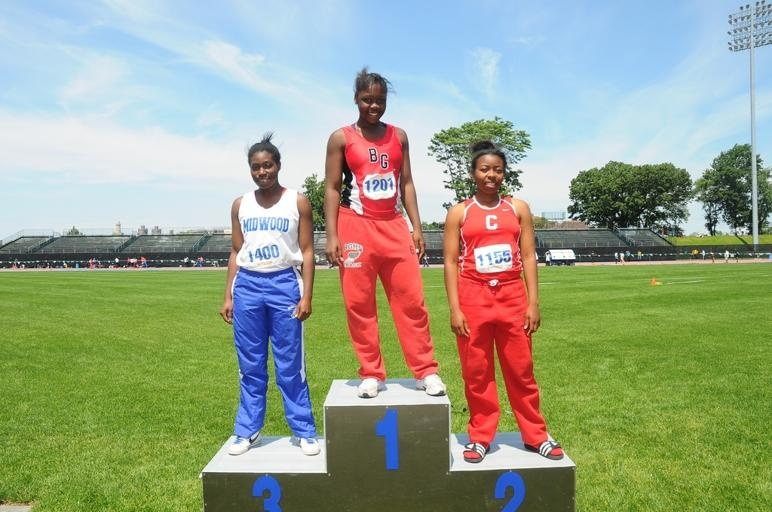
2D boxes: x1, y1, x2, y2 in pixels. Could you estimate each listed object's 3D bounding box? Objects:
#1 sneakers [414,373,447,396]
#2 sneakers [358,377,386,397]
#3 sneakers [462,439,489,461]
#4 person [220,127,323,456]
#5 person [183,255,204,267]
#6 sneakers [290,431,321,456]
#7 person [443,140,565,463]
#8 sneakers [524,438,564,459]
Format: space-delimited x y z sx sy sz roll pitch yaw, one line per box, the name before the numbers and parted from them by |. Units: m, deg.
sneakers | 0.487 1.339 5.805 0.210 0.196 0.492 -1 0 -16
sneakers | -0.165 1.360 5.808 0.236 0.166 0.483 -1 0 6
sneakers | 0.912 1.949 5.586 0.223 0.176 0.330 -1 0 18
person | -1.234 0.345 5.941 1.020 2.769 0.740 -1 0 -6
person | -18.022 0.574 52.206 1.965 1.104 0.973 0 0 31
sneakers | -0.825 1.942 5.787 0.143 0.146 0.352 1 -6 -32
person | 1.137 0.386 5.796 0.983 3.179 0.481 -1 0 -7
sneakers | 1.620 1.939 5.602 0.150 0.088 0.273 -4 1 -38
